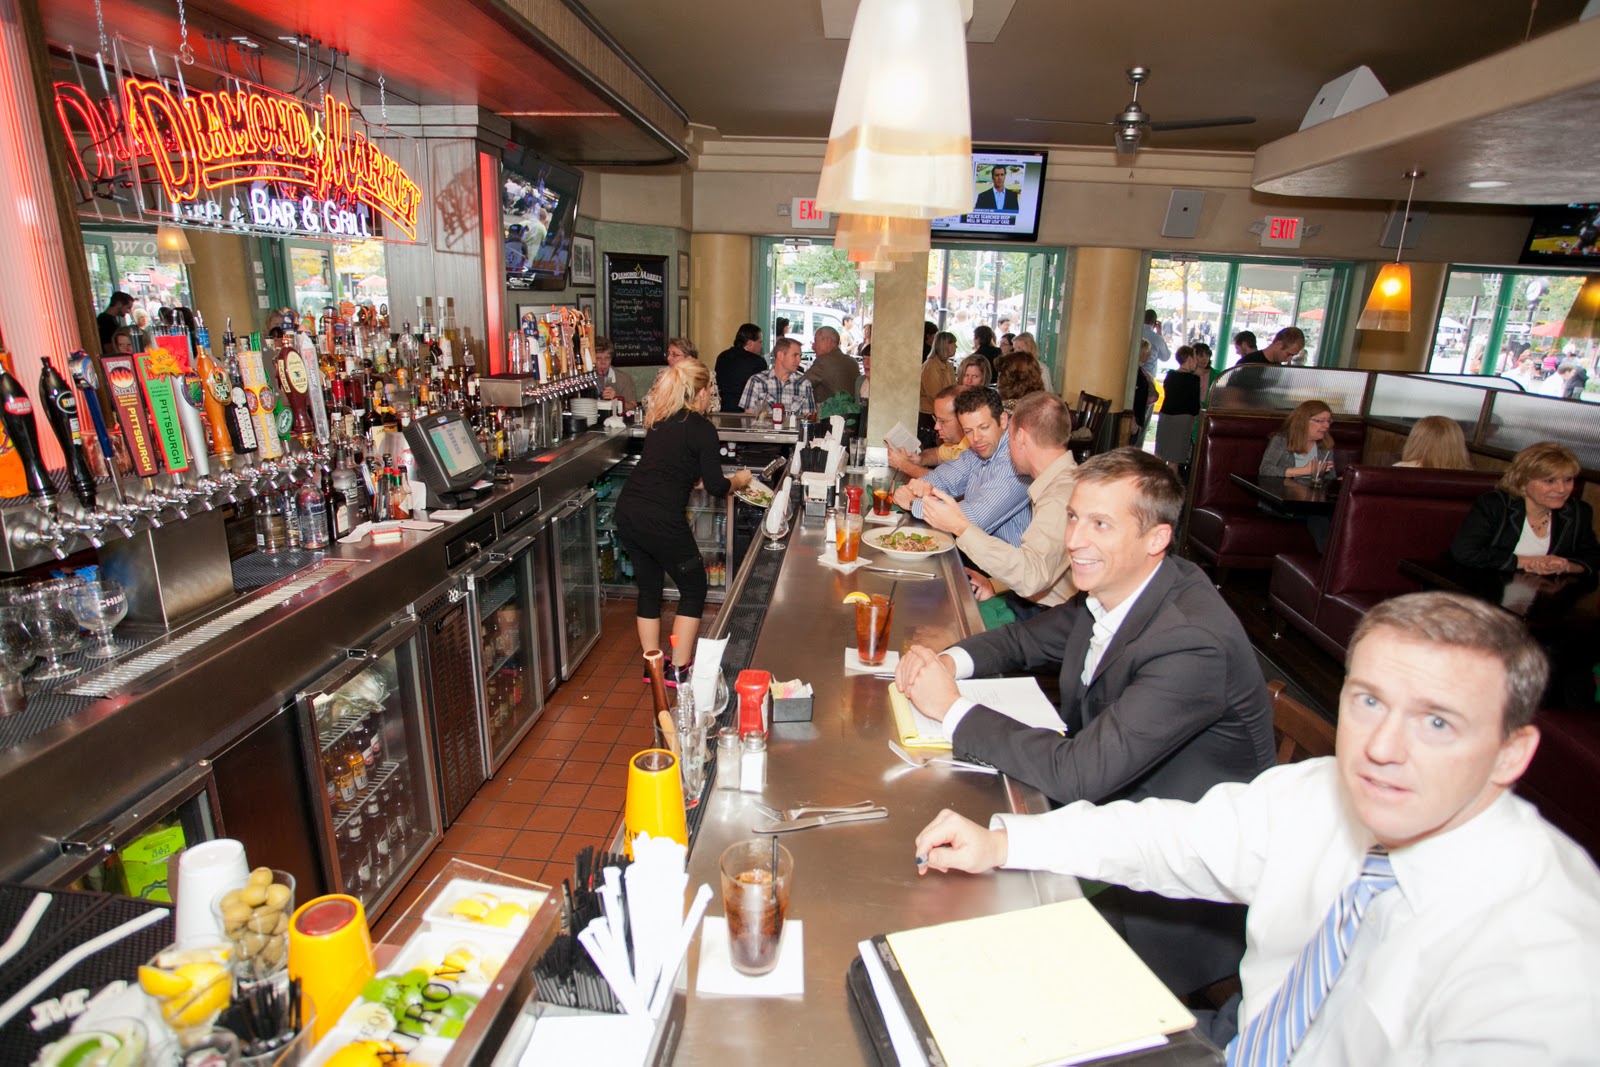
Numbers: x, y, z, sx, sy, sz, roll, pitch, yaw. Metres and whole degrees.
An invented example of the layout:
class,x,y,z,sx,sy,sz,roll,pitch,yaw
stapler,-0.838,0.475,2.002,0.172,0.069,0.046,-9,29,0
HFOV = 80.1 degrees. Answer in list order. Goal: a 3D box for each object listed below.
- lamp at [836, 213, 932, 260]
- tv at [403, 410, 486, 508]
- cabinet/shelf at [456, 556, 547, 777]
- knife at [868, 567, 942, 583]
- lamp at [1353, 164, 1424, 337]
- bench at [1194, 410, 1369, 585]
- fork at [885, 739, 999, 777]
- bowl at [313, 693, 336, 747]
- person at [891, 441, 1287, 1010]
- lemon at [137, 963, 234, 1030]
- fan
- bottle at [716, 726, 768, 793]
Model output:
class,x,y,z,sx,sy,sz,roll,pitch,yaw
lamp,0.267,-0.964,3.074,0.279,0.115,0.303,0,8,-1
tv,-1.627,-0.360,4.400,0.203,0.382,0.382,-6,15,14
cabinet/shelf,-1.426,0.569,4.577,0.197,1.038,0.796,0,17,-2
knife,0.425,0.170,3.987,0.325,0.045,0.096,4,7,-1
lamp,4.483,-2.129,7.117,0.311,1.229,0.315,6,7,-19
bench,3.472,-0.249,7.051,1.003,0.971,0.731,3,27,-8
fork,0.411,0.642,2.692,0.242,0.044,0.048,11,59,8
bowl,-1.721,0.673,3.448,0.042,0.167,0.177,0,16,-12
person,1.006,0.786,3.247,1.310,1.988,0.929,-4,17,-1
lemon,-1.219,0.900,1.891,0.127,0.104,0.135,2,-4,-6
fan,2.236,-2.720,6.294,1.197,0.541,0.972,12,24,25
bottle,-0.162,0.620,2.592,0.138,0.151,0.105,0,17,-4
